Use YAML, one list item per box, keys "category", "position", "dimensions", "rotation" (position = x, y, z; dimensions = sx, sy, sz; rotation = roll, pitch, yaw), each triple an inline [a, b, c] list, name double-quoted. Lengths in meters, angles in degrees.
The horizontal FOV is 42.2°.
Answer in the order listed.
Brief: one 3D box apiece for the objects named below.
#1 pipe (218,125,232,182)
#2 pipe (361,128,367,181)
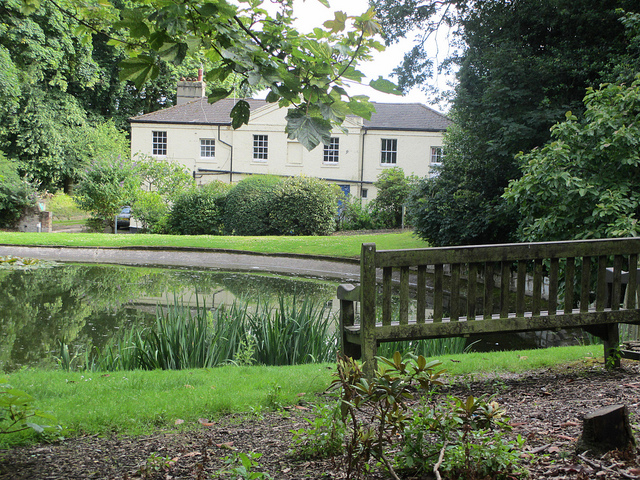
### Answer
- category: "pipe"
  position: [-4.447, -4.074, 38.901]
  dimensions: [0.752, 1.800, 0.293]
  rotation: [2, -1, -16]
- category: "pipe"
  position: [2.021, -3.970, 38.467]
  dimensions: [0.189, 2.436, 0.389]
  rotation: [2, -1, -25]
